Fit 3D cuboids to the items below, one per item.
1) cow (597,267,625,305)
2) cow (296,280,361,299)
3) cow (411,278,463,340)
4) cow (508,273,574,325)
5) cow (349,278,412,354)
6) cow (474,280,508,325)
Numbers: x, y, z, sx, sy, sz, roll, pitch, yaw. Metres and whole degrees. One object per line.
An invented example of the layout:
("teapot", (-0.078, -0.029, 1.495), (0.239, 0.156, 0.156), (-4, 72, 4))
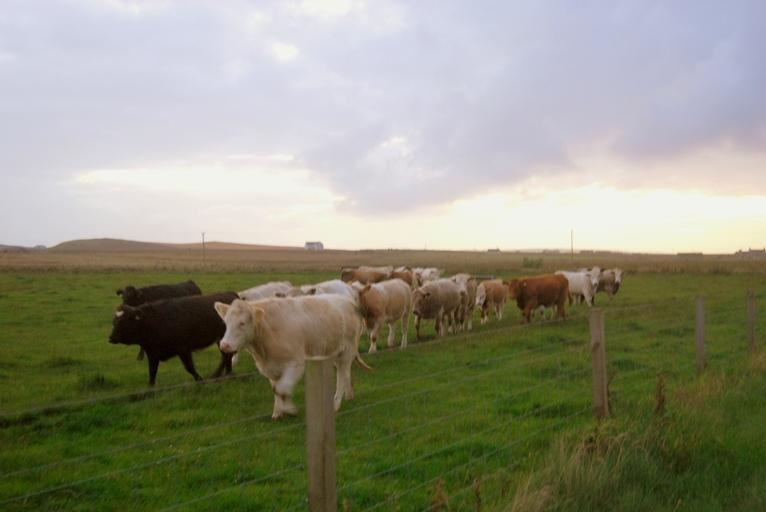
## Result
("cow", (10.788, 1.564, 27.859), (0.851, 1.673, 2.860), (2, -7, -9))
("cow", (-1.526, 0.991, 16.723), (1.831, 1.009, 0.600), (2, 0, -21))
("cow", (1.997, 1.847, 20.748), (1.117, 1.999, 2.852), (-2, 0, 22))
("cow", (6.004, 1.587, 22.160), (2.469, 1.668, 0.972), (-2, 0, -38))
("cow", (-0.182, 1.939, 18.633), (1.194, 2.203, 3.895), (-1, -4, 30))
("cow", (4.576, 1.810, 23.442), (0.711, 1.238, 2.128), (19, -17, -30))
